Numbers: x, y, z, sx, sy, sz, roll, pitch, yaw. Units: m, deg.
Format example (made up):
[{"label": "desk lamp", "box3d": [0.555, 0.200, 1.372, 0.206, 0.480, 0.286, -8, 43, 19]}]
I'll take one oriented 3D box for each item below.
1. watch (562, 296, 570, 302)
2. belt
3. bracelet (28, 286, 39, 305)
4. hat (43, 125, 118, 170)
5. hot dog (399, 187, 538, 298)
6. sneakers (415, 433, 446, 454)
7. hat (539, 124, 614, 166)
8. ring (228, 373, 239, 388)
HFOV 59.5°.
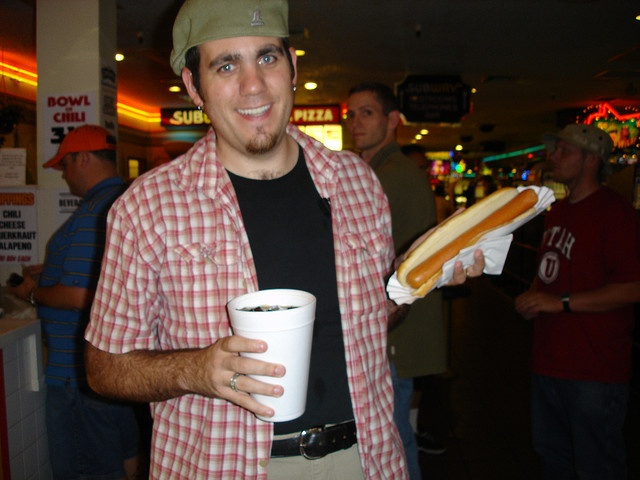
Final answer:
[{"label": "watch", "box3d": [1.776, 0.418, 4.029, 0.049, 0.046, 0.012, 1, 4, 29]}, {"label": "belt", "box3d": [-0.022, 1.022, 2.842, 0.282, 0.092, 0.206, -4, -10, -9]}, {"label": "bracelet", "box3d": [-2.315, 0.447, 4.487, 0.065, 0.173, 0.141, 2, -19, -20]}, {"label": "hat", "box3d": [-2.049, -0.803, 4.775, 0.530, 0.301, 0.343, 1, 7, -4]}, {"label": "hot dog", "box3d": [0.800, -0.025, 2.942, 1.028, 0.202, 0.175, -26, -10, -25]}, {"label": "sneakers", "box3d": [1.001, 1.871, 5.120, 0.338, 0.145, 0.129, 2, 6, 23]}, {"label": "hat", "box3d": [2.094, -0.826, 4.518, 0.459, 0.220, 0.338, 27, 0, -2]}, {"label": "ring", "box3d": [-0.402, 0.649, 2.593, 0.024, 0.060, 0.055, 6, -10, 14]}]
